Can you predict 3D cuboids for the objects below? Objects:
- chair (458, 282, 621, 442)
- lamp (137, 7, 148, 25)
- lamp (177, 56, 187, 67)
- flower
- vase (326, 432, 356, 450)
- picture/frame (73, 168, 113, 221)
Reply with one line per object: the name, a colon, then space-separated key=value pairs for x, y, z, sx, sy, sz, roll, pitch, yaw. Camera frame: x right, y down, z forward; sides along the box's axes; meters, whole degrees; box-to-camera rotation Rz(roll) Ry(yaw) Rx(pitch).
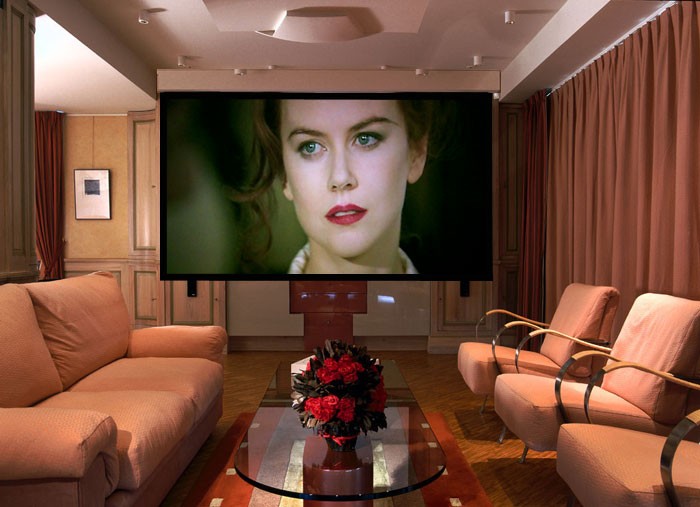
chair: x=1.452 y=0.802 z=4.284 sx=1.111 sy=1.354 sz=0.962 roll=-1 pitch=-3 yaw=-4
lamp: x=-1.834 y=-2.083 z=4.568 sx=0.088 sy=0.116 sz=0.091 roll=0 pitch=4 yaw=-28
lamp: x=-1.764 y=-2.001 z=5.420 sx=0.074 sy=0.099 sz=0.081 roll=1 pitch=-3 yaw=3
flower: x=-0.060 y=0.641 z=2.678 sx=0.424 sy=0.555 sz=0.489 roll=-1 pitch=5 yaw=-2
vase: x=-0.041 y=0.941 z=2.670 sx=0.103 sy=0.079 sz=0.118 roll=0 pitch=-8 yaw=-1
picture/frame: x=-3.161 y=-0.751 z=6.400 sx=0.544 sy=0.899 sz=0.064 roll=0 pitch=2 yaw=-2
